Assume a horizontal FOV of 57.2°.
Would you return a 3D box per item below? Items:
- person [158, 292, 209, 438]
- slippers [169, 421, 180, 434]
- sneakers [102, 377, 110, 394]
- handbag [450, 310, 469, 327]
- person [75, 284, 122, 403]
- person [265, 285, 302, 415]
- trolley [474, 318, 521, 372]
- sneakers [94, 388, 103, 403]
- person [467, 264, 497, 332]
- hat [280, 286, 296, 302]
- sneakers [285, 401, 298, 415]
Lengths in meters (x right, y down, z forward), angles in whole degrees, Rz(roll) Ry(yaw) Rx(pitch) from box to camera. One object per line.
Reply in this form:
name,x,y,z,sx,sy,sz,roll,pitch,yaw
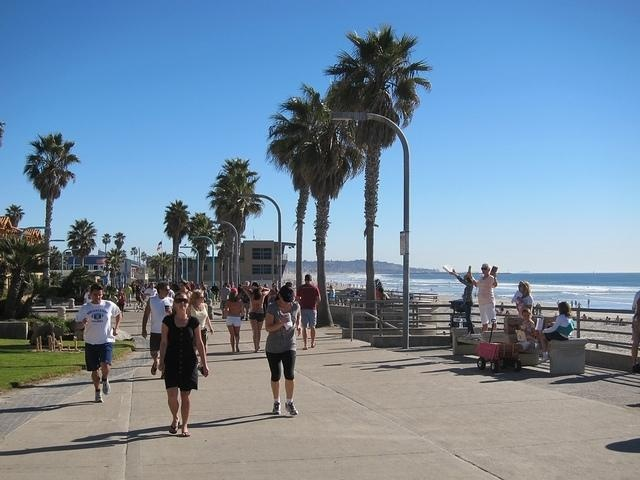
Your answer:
person,-1.990,1.804,8.507,0.630,2.027,0.429,2,-4,-17
slippers,-2.085,2.748,8.426,0.112,0.227,0.054,1,-14,35
sneakers,-3.908,2.699,10.706,0.100,0.339,0.121,-6,-5,-7
handbag,4.066,2.352,17.330,0.413,0.470,0.444,2,-5,-23
person,-4.057,1.855,10.668,0.573,2.098,1.002,1,-4,-3
person,-0.637,1.818,9.793,0.535,2.121,0.716,1,-4,-5
trolley,4.060,2.784,13.599,0.844,0.738,0.742,-1,-15,-28
sneakers,-3.928,2.788,10.405,0.127,0.202,0.280,2,-5,-21
person,4.511,1.619,16.086,0.592,1.764,3.590,-1,-6,16
hat,-0.538,0.898,9.601,0.186,0.276,0.259,0,-12,-8
sneakers,-0.461,2.755,9.554,0.184,0.212,0.261,1,-5,-6
